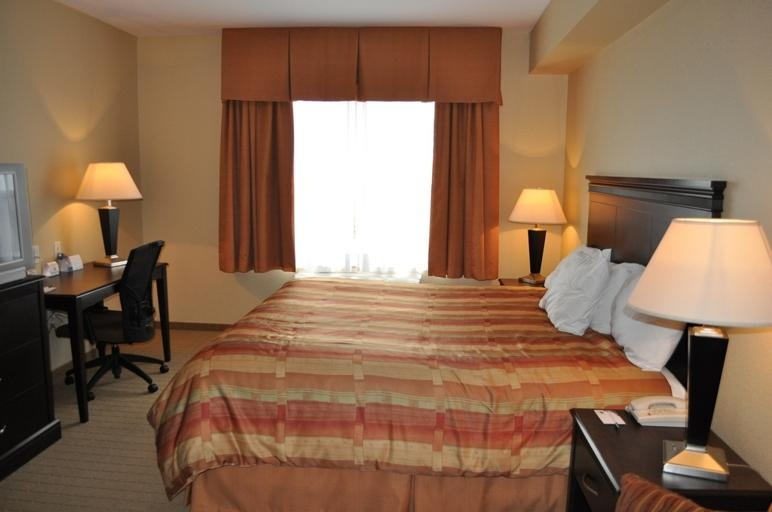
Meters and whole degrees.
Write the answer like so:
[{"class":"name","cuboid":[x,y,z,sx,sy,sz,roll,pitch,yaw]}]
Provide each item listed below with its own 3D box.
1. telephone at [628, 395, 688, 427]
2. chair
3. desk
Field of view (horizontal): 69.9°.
[{"class":"telephone","cuboid":[1.508,0.851,3.054,0.220,0.060,0.164,-1,5,8]},{"class":"chair","cuboid":[-2.225,0.589,4.680,0.548,0.677,0.925,-5,4,42]},{"class":"desk","cuboid":[-2.331,0.712,4.519,0.650,0.813,1.097,3,8,16]}]
